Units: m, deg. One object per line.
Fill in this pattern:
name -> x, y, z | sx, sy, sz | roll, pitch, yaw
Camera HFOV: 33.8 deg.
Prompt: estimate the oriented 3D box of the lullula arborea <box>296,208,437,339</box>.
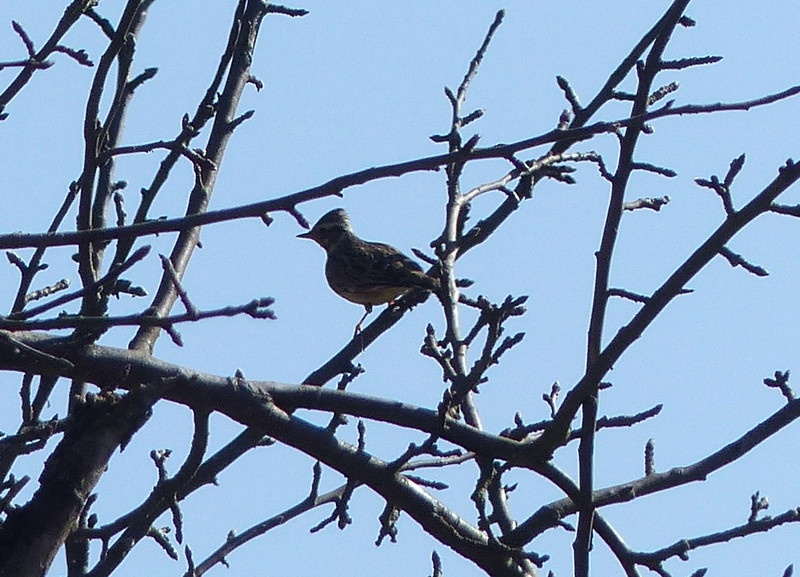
lullula arborea -> -0.297, -0.247, 14.303 | 1.547, 0.559, 1.362 | -5, -92, 20
